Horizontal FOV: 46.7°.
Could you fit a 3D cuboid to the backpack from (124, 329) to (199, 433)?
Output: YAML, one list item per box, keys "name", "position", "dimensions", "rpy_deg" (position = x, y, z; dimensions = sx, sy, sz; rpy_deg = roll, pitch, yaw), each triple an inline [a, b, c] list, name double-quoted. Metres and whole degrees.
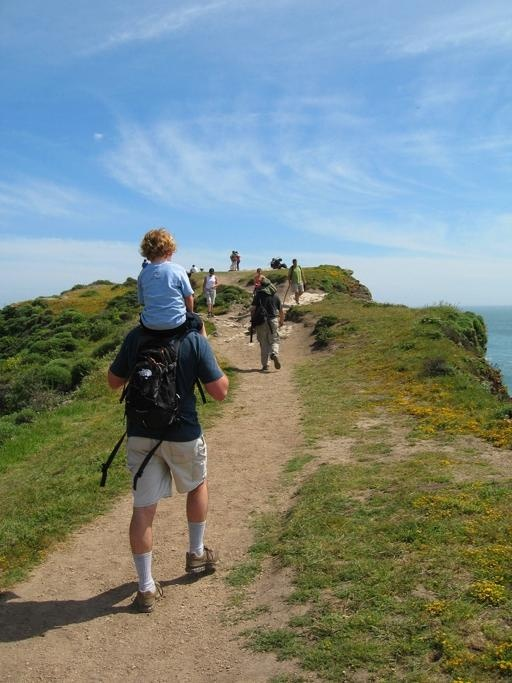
- name: "backpack"
  position: [-0.698, 0.317, 4.267]
  dimensions: [0.353, 0.541, 0.515]
  rpy_deg: [-6, 10, 41]

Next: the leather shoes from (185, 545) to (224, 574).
- name: "leather shoes"
  position: [-0.447, 1.800, 4.890]
  dimensions: [0.154, 0.165, 0.341]
  rpy_deg: [-4, -5, 39]

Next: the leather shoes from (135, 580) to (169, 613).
- name: "leather shoes"
  position: [-0.796, 1.892, 4.382]
  dimensions: [0.113, 0.102, 0.243]
  rpy_deg: [-2, 1, -1]
